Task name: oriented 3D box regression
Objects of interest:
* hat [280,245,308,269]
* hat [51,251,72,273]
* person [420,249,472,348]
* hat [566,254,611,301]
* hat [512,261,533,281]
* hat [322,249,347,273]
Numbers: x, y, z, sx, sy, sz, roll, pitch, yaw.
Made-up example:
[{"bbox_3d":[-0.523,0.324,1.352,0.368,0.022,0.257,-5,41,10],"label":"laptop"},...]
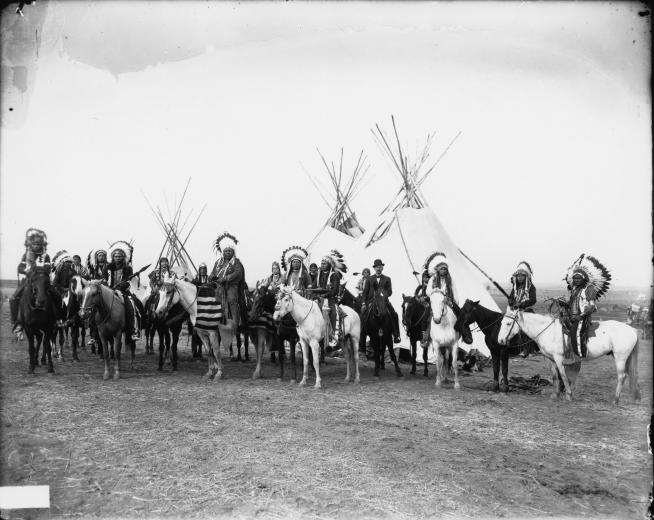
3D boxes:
[{"bbox_3d":[-0.768,0.029,14.427,0.676,0.716,0.218,23,12,26],"label":"hat"},{"bbox_3d":[-6.530,0.079,14.269,0.423,0.515,0.132,14,-6,-7],"label":"hat"},{"bbox_3d":[2.813,0.998,13.885,0.520,2.300,1.415,-27,-26,25],"label":"person"},{"bbox_3d":[5.228,0.345,11.660,0.800,0.913,0.537,2,3,27],"label":"hat"},{"bbox_3d":[4.008,0.260,11.914,0.247,0.271,0.406,2,-25,8],"label":"hat"},{"bbox_3d":[0.197,0.041,14.856,0.568,0.313,0.580,2,-2,-10],"label":"hat"}]
